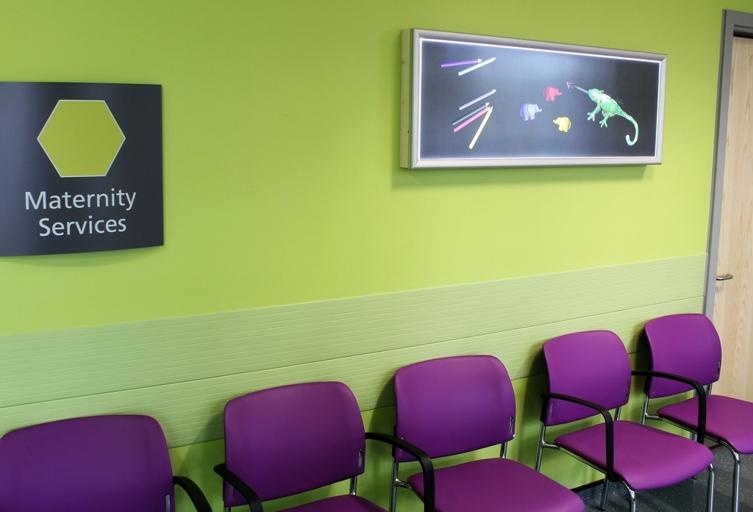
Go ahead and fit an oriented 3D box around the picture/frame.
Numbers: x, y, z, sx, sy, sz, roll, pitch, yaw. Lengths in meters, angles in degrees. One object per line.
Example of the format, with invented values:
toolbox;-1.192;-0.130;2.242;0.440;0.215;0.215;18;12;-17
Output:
picture/frame;0.874;-0.788;2.776;1.639;0.646;0.105;-4;10;-22
